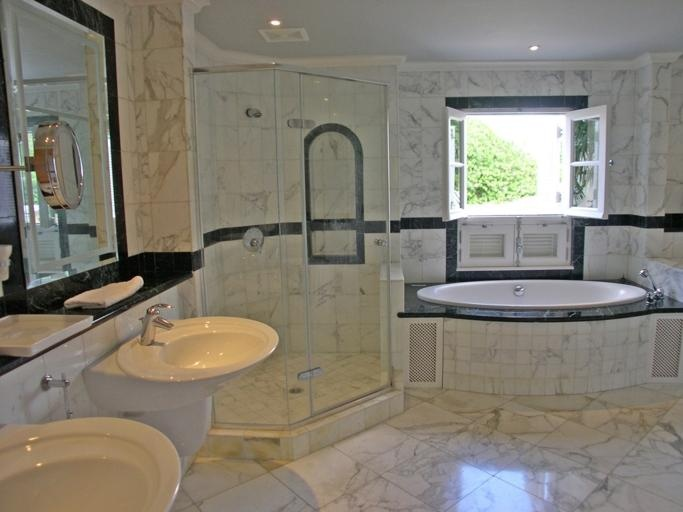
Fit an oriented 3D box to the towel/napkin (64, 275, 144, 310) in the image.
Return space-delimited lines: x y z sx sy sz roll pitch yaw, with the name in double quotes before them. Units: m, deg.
"towel/napkin" -1.164 0.194 2.678 0.152 0.055 0.211 3 12 22
